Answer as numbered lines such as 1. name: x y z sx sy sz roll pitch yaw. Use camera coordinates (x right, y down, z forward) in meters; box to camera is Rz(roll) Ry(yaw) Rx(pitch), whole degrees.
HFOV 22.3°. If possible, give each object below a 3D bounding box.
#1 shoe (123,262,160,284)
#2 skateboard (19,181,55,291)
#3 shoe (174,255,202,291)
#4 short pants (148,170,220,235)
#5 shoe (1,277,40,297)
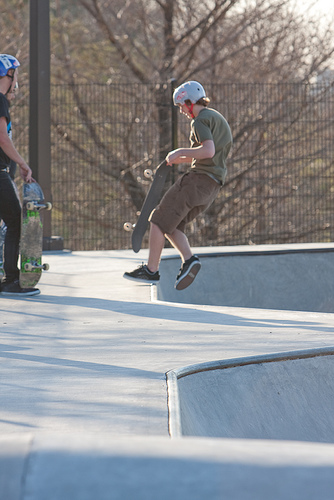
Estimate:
1. shoe: -0.136 0.141 4.965 0.202 0.120 0.187 7 6 1
2. skateboard: -0.751 -0.079 4.865 0.098 0.622 0.170 5 1 39
3. shoe: 0.114 0.131 4.810 0.091 0.242 0.102 7 35 -42
4. short pants: 0.123 -0.274 4.911 0.210 0.365 0.439 12 8 39
5. shoe: -0.834 0.222 4.852 0.205 0.109 0.102 10 7 26
